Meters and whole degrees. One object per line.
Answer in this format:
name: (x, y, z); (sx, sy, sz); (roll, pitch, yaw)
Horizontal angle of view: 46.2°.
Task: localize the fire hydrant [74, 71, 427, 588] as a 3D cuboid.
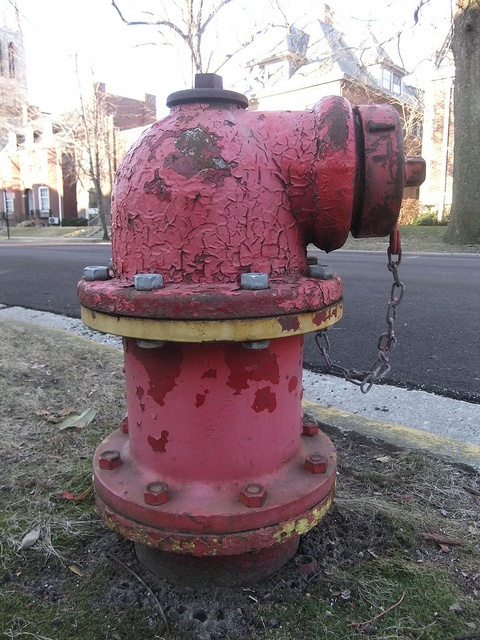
fire hydrant: (0.005, 0.037, 1.520); (0.824, 1.354, 0.564); (-7, 16, -21)
